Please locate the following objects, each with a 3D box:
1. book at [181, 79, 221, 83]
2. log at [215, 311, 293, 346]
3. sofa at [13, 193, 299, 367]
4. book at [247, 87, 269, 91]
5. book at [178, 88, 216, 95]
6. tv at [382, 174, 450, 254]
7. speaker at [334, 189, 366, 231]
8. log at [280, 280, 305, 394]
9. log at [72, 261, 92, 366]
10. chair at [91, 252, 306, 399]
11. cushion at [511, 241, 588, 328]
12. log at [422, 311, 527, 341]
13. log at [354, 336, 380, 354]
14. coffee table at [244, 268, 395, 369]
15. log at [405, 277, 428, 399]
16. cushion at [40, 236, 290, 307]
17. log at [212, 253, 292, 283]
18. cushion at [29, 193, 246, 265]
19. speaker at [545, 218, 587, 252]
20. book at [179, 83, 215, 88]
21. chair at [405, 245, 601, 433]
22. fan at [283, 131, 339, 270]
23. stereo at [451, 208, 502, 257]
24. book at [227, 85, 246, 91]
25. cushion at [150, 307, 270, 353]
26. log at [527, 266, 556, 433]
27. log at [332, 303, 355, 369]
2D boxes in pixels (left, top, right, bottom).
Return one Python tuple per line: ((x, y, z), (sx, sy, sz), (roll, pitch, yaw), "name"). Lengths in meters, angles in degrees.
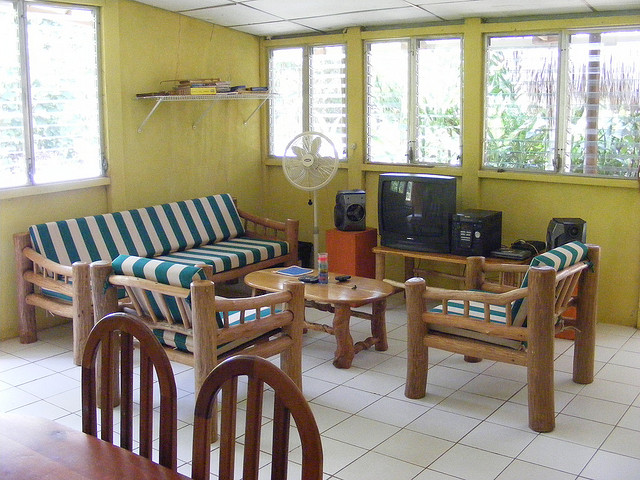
((-1.328, -1.768, 5.820), (0.412, 0.051, 0.138), (-8, 15, -31), "book")
((-0.446, 0.576, 3.458), (0.604, 0.128, 0.097), (-11, 17, -40), "log")
((-1.518, 0.244, 5.524), (1.123, 1.040, 2.794), (12, 15, 33), "sofa")
((-0.765, -1.839, 6.379), (0.131, 0.029, 0.119), (-7, 11, -40), "book")
((-1.340, -1.623, 5.711), (0.388, 0.076, 0.124), (-4, 13, -16), "book")
((1.065, -0.317, 5.758), (0.816, 0.843, 0.498), (4, 17, 20), "tv")
((0.341, -0.332, 6.052), (0.383, 0.429, 0.455), (0, 1, -16), "speaker")
((-0.180, 0.653, 3.642), (0.223, 0.689, 0.206), (16, 18, 40), "log")
((-2.016, 0.646, 4.246), (0.162, 0.762, 0.161), (-1, -4, 43), "log")
((-0.816, 0.444, 3.656), (1.455, 0.956, 1.069), (9, 15, 35), "chair")
((1.671, 0.256, 3.729), (0.564, 0.587, 0.730), (4, 6, 42), "cushion")
((1.102, 0.605, 3.652), (0.843, 0.134, 0.097), (8, 27, 32), "log")
((0.399, 0.930, 4.690), (0.356, 0.091, 0.082), (-22, 19, -41), "log")
((-0.030, 0.694, 4.810), (1.424, 0.630, 0.800), (7, 14, 39), "coffee table")
((0.710, 0.746, 3.899), (0.174, 0.924, 0.112), (2, 14, 9), "log")
((-1.694, 0.209, 6.098), (1.117, 0.497, 2.398), (8, 12, 36), "cushion")
((-0.730, 0.303, 5.609), (1.475, 0.142, 0.235), (-12, 1, -44), "log")
((-1.930, -0.076, 5.289), (0.730, 0.606, 2.562), (10, 13, 36), "cushion")
((2.332, -0.083, 4.945), (0.306, 0.261, 0.267), (0, 6, -18), "speaker")
((-1.354, -1.698, 5.744), (0.373, 0.059, 0.159), (-3, 13, -12), "book")
((1.458, 0.606, 4.078), (1.211, 1.118, 1.223), (8, 15, 30), "chair")
((-0.065, -0.406, 6.257), (0.487, 1.751, 0.622), (-12, 17, -42), "fan")
((1.625, -0.066, 5.375), (0.491, 0.434, 0.368), (-13, 18, -43), "stereo")
((-0.959, -1.779, 6.142), (0.151, 0.059, 0.155), (3, 13, 12), "book")
((-0.731, 0.581, 3.347), (0.367, 0.072, 0.440), (10, 16, 42), "cushion")
((1.521, 0.757, 3.543), (0.230, 1.061, 0.222), (-1, -3, 29), "log")
((0.202, 0.790, 4.452), (0.224, 0.608, 0.169), (-4, 14, -15), "log")
